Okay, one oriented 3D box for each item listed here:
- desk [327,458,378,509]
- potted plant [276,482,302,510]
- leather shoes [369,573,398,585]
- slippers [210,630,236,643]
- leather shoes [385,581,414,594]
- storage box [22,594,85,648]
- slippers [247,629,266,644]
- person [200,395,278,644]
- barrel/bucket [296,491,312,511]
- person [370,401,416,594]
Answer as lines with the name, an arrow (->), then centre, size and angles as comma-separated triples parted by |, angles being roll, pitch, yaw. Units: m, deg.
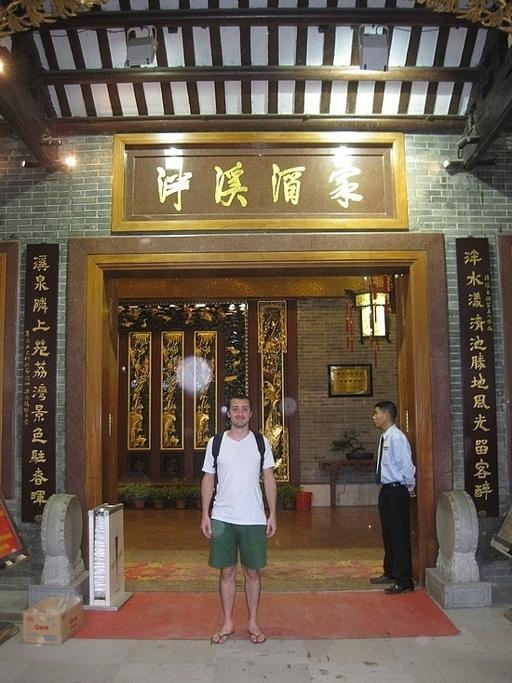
desk -> 1.255, 1.899, 7.788 | 0.748, 0.702, 0.632 | -1, -20, 2
potted plant -> 0.419, 2.064, 7.630 | 0.288, 0.288, 0.288 | 0, -4, 4
leather shoes -> 0.875, 1.618, 3.894 | 0.164, 0.065, 0.058 | 6, -12, -14
slippers -> -0.166, 1.454, 2.805 | 0.046, 0.038, 0.126 | -7, -27, 35
leather shoes -> 0.921, 1.586, 3.683 | 0.191, 0.081, 0.074 | 6, -17, -8
storage box -> -1.052, 1.381, 2.910 | 0.197, 0.137, 0.281 | -2, -3, 2
slippers -> 0.005, 1.448, 2.801 | 0.086, 0.047, 0.128 | -1, -5, -2
person -> -0.087, 0.873, 2.851 | 0.367, 1.200, 0.210 | -1, -6, -2
barrel/bucket -> 0.624, 2.072, 7.407 | 0.222, 0.169, 0.219 | 0, -10, 0
person -> 0.917, 1.017, 3.827 | 0.323, 1.222, 0.349 | -2, -6, 10
